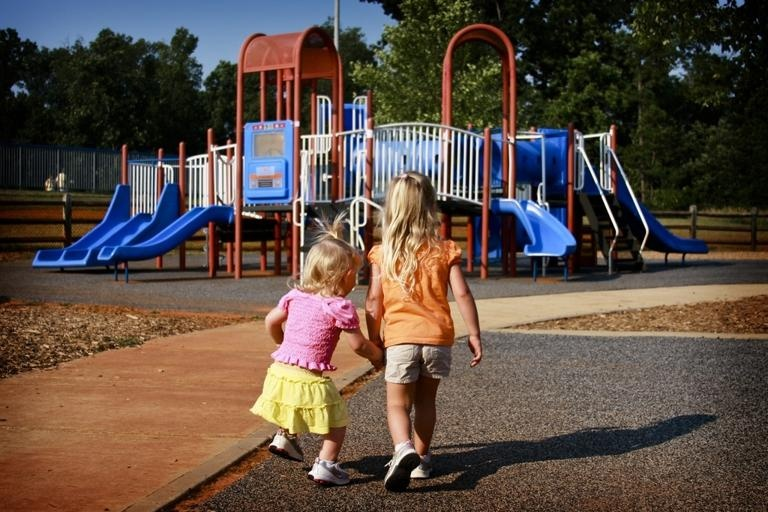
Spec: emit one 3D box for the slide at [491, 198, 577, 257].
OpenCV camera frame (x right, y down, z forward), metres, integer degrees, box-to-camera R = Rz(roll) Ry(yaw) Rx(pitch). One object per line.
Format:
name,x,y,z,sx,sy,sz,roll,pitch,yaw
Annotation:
slide,3.013,-0.518,16.007,0.704,0.948,2.450,9,-16,38

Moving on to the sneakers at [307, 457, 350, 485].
sneakers,-0.406,1.563,5.936,0.334,0.164,0.142,12,11,-24

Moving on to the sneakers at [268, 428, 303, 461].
sneakers,-0.712,1.426,6.194,0.141,0.167,0.368,3,-23,42

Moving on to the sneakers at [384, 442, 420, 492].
sneakers,0.105,1.494,5.888,0.175,0.404,0.180,10,28,-14

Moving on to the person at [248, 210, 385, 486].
person,-0.509,0.754,6.001,0.888,1.760,0.447,0,9,-2

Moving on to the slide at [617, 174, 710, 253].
slide,6.576,-0.827,19.968,2.715,1.726,0.937,-4,10,-30

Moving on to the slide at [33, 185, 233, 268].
slide,-5.492,-0.565,17.791,3.454,1.960,2.467,6,10,33
